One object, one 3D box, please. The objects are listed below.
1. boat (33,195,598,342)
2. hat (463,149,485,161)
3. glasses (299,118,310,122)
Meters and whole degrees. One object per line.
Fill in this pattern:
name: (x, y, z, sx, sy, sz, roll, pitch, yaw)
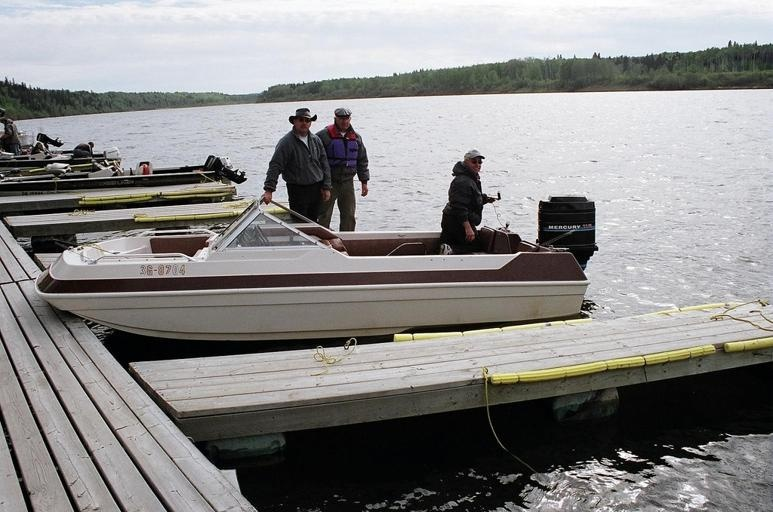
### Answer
boat: (-0.993, 0.177, 8.166, 6.199, 1.882, 0.889, -6, 18, -8)
hat: (1.208, -1.396, 8.842, 0.212, 0.105, 0.240, 0, 16, 14)
glasses: (-1.168, -1.980, 9.361, 0.078, 0.067, 0.237, 1, 16, 20)
